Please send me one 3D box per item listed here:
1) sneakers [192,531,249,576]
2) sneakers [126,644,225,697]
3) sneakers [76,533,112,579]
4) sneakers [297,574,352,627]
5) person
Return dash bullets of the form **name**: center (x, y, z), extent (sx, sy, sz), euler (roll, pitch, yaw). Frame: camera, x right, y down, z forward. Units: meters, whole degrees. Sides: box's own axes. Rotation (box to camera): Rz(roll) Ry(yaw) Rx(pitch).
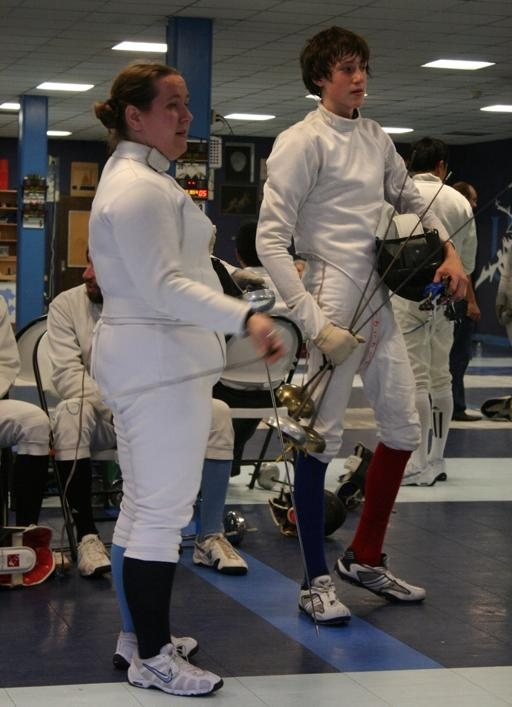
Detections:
- **sneakers**: center (-0.129, 0.710, 2.590), extent (0.085, 0.087, 0.231), euler (-3, 3, -42)
- **sneakers**: center (-0.165, 0.645, 1.502), extent (0.237, 0.091, 0.077), euler (3, 1, 9)
- **sneakers**: center (-0.555, 0.684, 2.469), extent (0.090, 0.075, 0.213), euler (-2, -6, -19)
- **sneakers**: center (0.179, 0.674, 2.010), extent (0.086, 0.085, 0.196), euler (1, -4, -22)
- **person**: center (0.056, -0.110, 1.756), extent (0.555, 1.472, 1.121), euler (1, 0, 34)
